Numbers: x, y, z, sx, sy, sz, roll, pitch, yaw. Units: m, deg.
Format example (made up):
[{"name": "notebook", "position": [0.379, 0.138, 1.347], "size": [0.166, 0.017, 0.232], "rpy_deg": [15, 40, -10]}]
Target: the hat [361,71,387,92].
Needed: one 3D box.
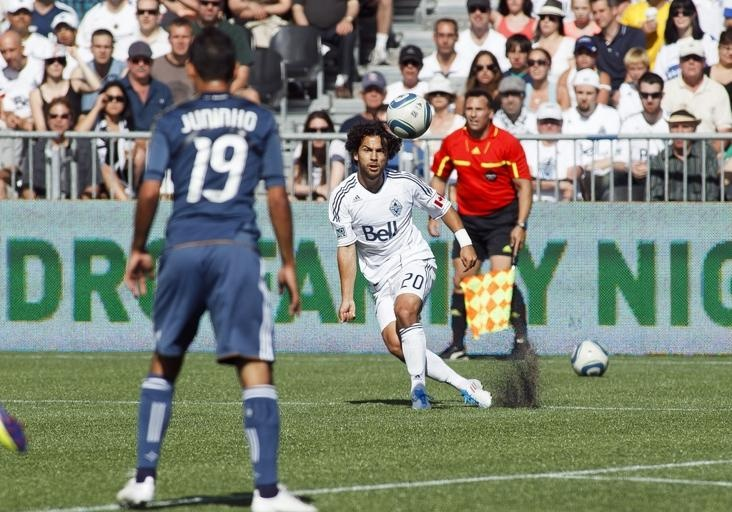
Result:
[{"name": "hat", "position": [0.097, -2.286, 22.332], "size": [0.305, 0.247, 0.523], "rpy_deg": [4, 2, 1]}]

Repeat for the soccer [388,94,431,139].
[{"name": "soccer", "position": [0.487, -1.486, 18.679], "size": [0.456, 0.494, 0.477], "rpy_deg": [-9, 18, 7]}]

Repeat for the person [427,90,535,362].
[{"name": "person", "position": [1.353, -0.304, 19.786], "size": [1.063, 3.192, 1.156], "rpy_deg": [0, 1, 3]}]

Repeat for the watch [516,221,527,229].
[{"name": "watch", "position": [1.753, -0.337, 19.272], "size": [0.077, 0.041, 0.079], "rpy_deg": [18, 17, 27]}]
